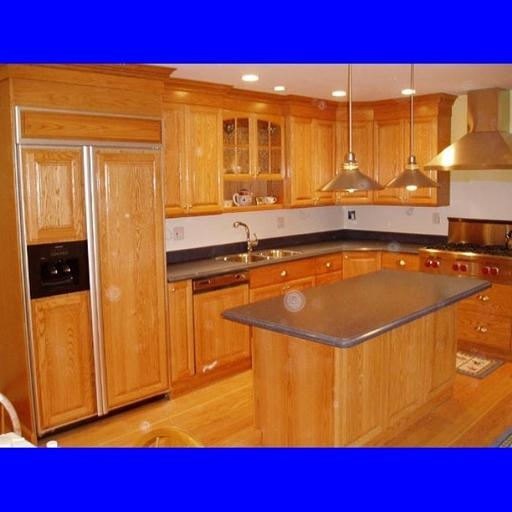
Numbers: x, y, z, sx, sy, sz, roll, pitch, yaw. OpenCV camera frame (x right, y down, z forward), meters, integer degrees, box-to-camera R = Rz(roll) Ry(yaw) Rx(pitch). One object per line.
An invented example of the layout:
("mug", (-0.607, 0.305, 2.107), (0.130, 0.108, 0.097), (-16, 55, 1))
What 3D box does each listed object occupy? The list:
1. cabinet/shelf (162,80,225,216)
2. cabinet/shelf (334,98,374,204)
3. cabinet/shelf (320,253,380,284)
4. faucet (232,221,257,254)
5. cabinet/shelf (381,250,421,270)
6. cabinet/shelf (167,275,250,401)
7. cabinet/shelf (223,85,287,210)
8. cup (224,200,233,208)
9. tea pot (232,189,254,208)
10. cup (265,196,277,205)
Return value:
("cabinet/shelf", (-0.475, -0.874, 4.008), (0.784, 1.019, 0.383), (13, 18, 39))
("cabinet/shelf", (1.140, -1.093, 5.257), (0.375, 0.956, 0.130), (3, 18, 20))
("cabinet/shelf", (0.959, 0.107, 4.857), (0.761, 0.302, 0.158), (-3, 8, -23))
("faucet", (-0.123, -0.180, 4.658), (0.225, 0.336, 0.502), (1, 7, 7))
("cabinet/shelf", (1.515, 0.049, 4.811), (0.416, 0.190, 0.092), (7, 10, 44))
("cabinet/shelf", (-0.557, 0.597, 3.935), (0.497, 0.928, 0.979), (0, 4, 37))
("cabinet/shelf", (-0.109, -0.943, 4.497), (0.327, 0.935, 0.926), (7, 10, 42))
("cup", (-0.267, -0.499, 4.421), (0.079, 0.051, 0.078), (-1, 12, 0))
("tea pot", (-0.138, -0.556, 4.539), (0.195, 0.152, 0.145), (-6, 11, -21))
("cup", (0.151, -0.563, 4.770), (0.109, 0.077, 0.082), (1, -2, -31))
